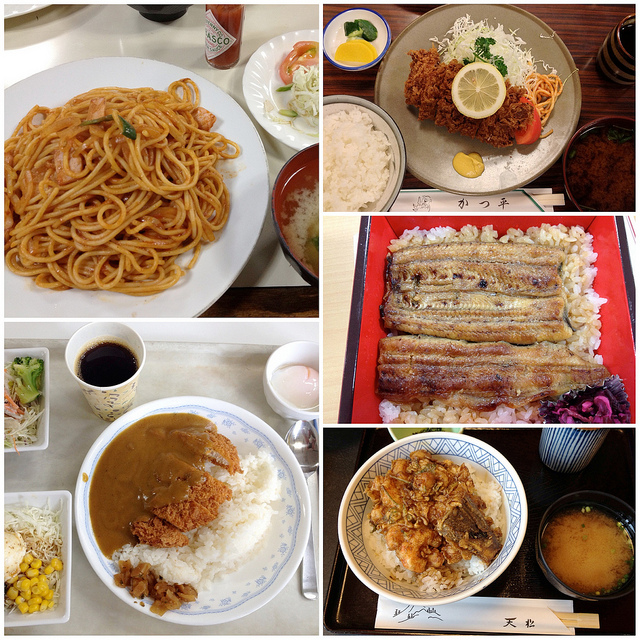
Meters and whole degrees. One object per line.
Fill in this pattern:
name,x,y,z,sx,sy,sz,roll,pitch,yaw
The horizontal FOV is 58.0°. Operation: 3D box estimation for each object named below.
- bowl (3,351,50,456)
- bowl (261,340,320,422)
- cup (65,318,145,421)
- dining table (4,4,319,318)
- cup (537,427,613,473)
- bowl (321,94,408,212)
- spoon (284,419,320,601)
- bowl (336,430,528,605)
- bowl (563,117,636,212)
bowl,-0.933,0.253,1.815,0.178,0.089,0.337,-2,84,-23
bowl,-0.111,0.223,2.052,0.218,0.176,0.269,1,74,-17
cup,-0.643,0.184,1.755,0.200,0.246,0.222,-8,52,-26
dining table,-0.624,-0.677,2.120,1.231,0.355,1.333,-1,64,2
cup,0.779,0.407,1.807,0.134,0.148,0.131,5,83,-45
bowl,0.144,-0.541,1.917,0.272,0.181,0.371,0,64,2
spoon,-0.046,0.586,1.854,0.090,0.062,0.558,6,59,-11
bowl,0.312,0.562,1.641,0.529,0.157,0.443,-19,65,-7
bowl,0.940,-0.519,1.916,0.225,0.103,0.314,2,64,3
